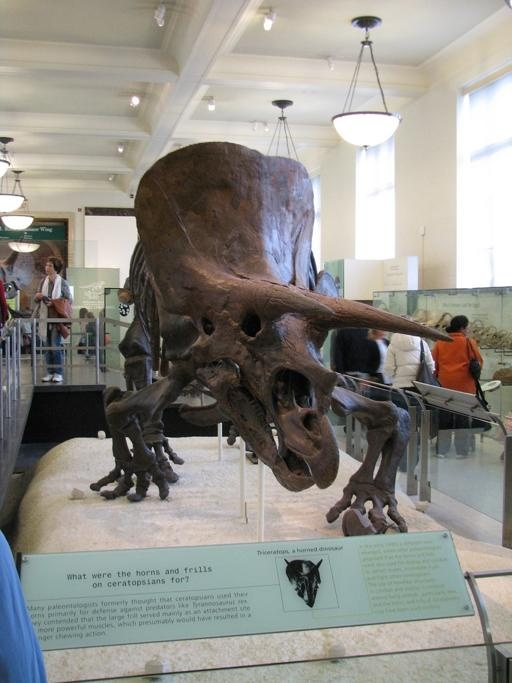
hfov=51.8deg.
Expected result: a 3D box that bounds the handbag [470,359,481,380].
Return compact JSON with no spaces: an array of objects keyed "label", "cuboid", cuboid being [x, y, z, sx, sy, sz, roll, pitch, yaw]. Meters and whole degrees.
[{"label":"handbag","cuboid":[2.028,0.249,4.860,0.074,0.213,0.078,7,-12,-2]}]

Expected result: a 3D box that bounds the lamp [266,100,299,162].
[{"label":"lamp","cuboid":[0.489,-4.048,10.208,0.642,1.144,0.671,1,29,-5]}]

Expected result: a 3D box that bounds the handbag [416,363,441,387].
[{"label":"handbag","cuboid":[1.614,0.289,4.854,0.206,0.206,0.194,-3,4,-21]}]

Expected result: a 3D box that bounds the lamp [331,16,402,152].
[{"label":"lamp","cuboid":[1.450,-3.371,6.863,0.865,1.502,0.801,3,13,19]}]

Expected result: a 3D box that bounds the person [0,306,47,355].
[{"label":"person","cuboid":[-3.909,-0.162,8.928,1.164,0.433,1.485,3,15,-27]}]

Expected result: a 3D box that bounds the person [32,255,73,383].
[{"label":"person","cuboid":[-3.123,-0.304,8.126,0.500,1.927,1.462,-3,4,-22]}]

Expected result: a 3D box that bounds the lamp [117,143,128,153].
[{"label":"lamp","cuboid":[-3.211,-4.605,12.581,0.169,0.229,0.234,1,-7,-12]}]
